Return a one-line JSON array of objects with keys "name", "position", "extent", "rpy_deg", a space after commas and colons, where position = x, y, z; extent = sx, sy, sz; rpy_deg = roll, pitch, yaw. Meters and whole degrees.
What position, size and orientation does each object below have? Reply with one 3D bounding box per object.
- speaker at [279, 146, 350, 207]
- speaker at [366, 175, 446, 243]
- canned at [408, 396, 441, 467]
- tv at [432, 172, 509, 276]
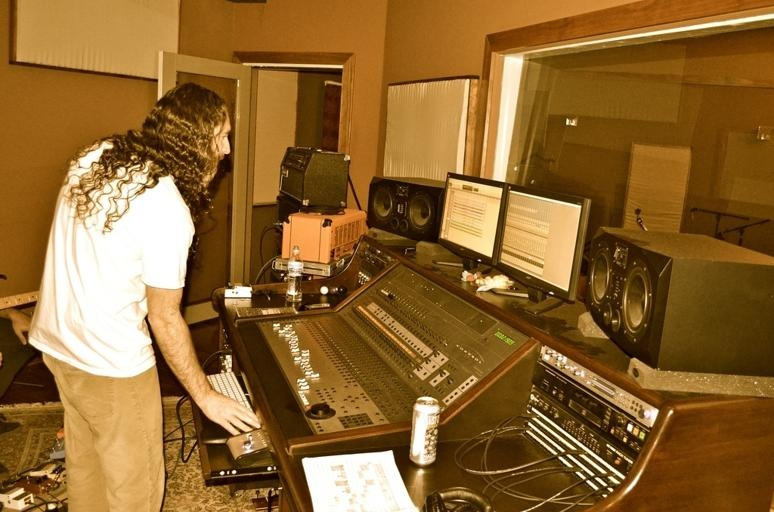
[{"name": "speaker", "position": [-0.532, -0.569, 4.025], "extent": [0.387, 0.389, 0.575], "rpy_deg": [-4, 16, -35]}, {"name": "speaker", "position": [0.176, -0.294, 3.466], "extent": [0.560, 0.346, 0.336], "rpy_deg": [14, 18, 32]}, {"name": "canned", "position": [0.132, 0.627, 2.004], "extent": [0.096, 0.230, 0.077], "rpy_deg": [-3, 14, -18]}, {"name": "tv", "position": [0.429, -0.144, 2.880], "extent": [0.167, 0.504, 0.509], "rpy_deg": [-6, 9, -26]}]
